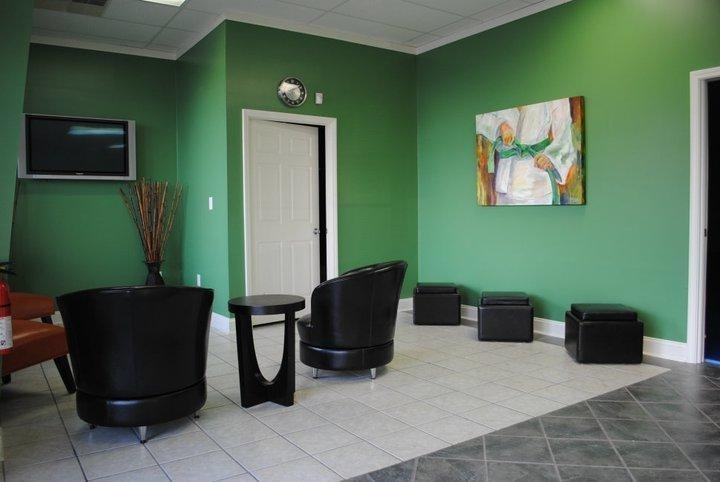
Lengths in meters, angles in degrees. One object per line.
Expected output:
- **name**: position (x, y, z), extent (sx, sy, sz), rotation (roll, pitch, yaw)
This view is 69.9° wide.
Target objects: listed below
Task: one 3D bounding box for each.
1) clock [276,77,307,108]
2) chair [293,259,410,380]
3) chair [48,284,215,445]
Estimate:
- **clock**: position (-0.843, -1.881, 6.457), extent (0.367, 0.351, 0.086), rotation (-10, 8, -30)
- **chair**: position (-0.072, 0.712, 5.024), extent (1.097, 1.104, 1.015), rotation (1, -2, 9)
- **chair**: position (-1.672, 0.880, 4.224), extent (1.295, 1.224, 1.130), rotation (-1, 5, -19)
